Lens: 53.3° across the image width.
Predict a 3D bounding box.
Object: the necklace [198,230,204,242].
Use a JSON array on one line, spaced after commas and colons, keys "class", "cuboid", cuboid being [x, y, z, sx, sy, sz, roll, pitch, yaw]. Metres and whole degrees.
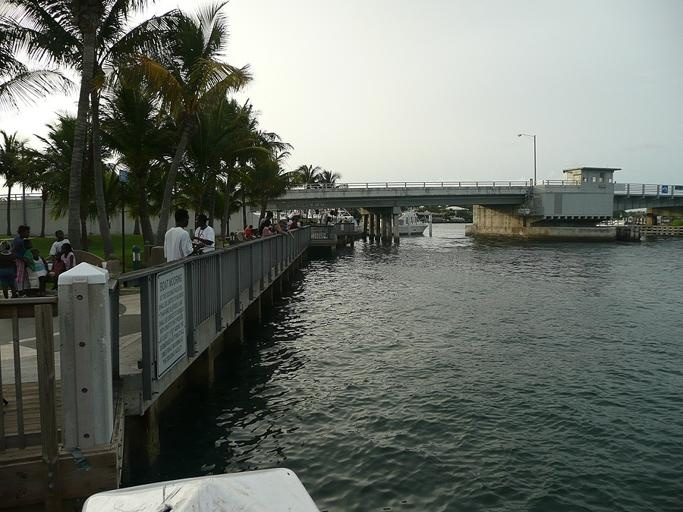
[{"class": "necklace", "cuboid": [-3.381, -0.472, 16.129, 0.157, 0.259, 0.223, -1, 6, 2]}]
